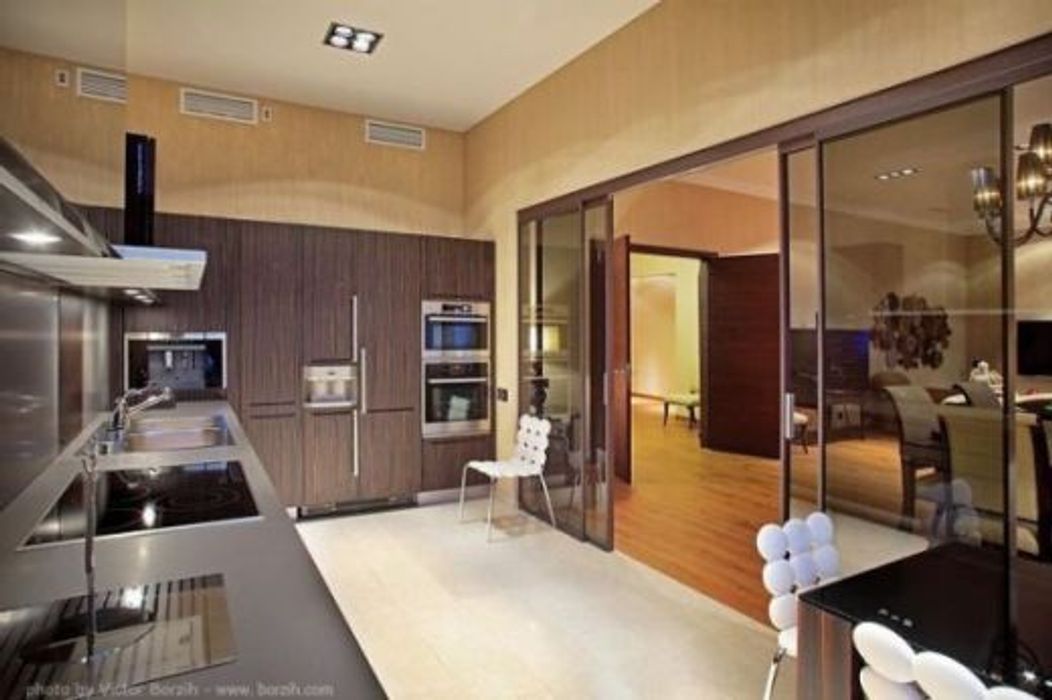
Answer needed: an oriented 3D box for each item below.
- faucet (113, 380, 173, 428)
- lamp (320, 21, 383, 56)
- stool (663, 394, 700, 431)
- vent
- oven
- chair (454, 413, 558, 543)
[{"bbox_3d":[-2.537,0.374,4.372,0.261,0.173,0.274,2,-1,-20],"label":"faucet"},{"bbox_3d":[-1.272,-2.267,4.859,0.382,0.098,0.365,-4,9,-27],"label":"lamp"},{"bbox_3d":[2.299,0.914,9.643,0.514,0.458,0.506,0,1,-43],"label":"stool"},{"bbox_3d":[-1.915,-0.370,3.088,0.734,0.210,1.041,-4,9,-28],"label":"vent"},{"bbox_3d":[-0.712,0.198,6.330,0.711,1.258,0.645,0,1,-26],"label":"oven"},{"bbox_3d":[-0.183,1.030,5.591,0.669,0.923,1.025,-4,9,-23],"label":"chair"}]
